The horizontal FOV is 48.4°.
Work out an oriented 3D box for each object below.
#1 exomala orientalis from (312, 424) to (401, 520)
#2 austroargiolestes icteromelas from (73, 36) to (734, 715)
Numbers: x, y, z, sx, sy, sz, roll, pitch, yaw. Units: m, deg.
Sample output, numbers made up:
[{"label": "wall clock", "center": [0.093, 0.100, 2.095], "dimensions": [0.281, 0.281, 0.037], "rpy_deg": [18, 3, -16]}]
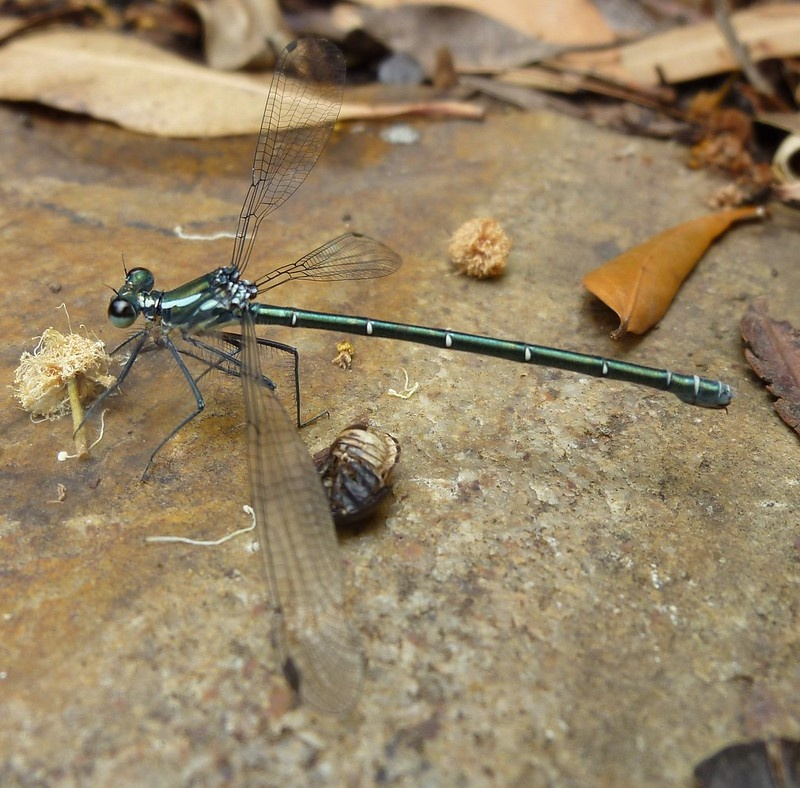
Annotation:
[{"label": "exomala orientalis", "center": [-0.119, 0.218, 2.460], "dimensions": [0.226, 0.135, 0.265], "rpy_deg": [3, 52, -1]}, {"label": "austroargiolestes icteromelas", "center": [-0.249, -0.182, 2.749], "dimensions": [1.690, 0.527, 1.968], "rpy_deg": [-37, 62, -28]}]
